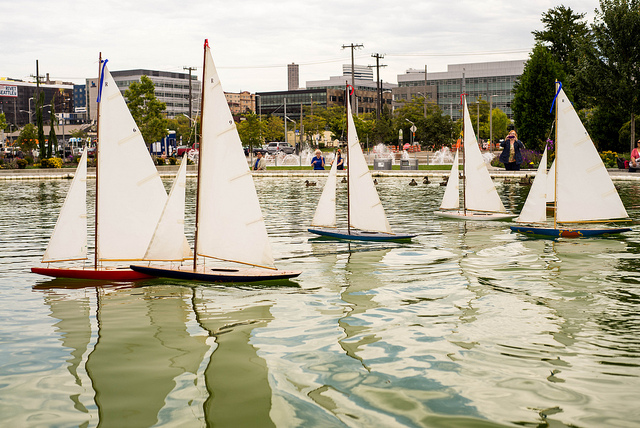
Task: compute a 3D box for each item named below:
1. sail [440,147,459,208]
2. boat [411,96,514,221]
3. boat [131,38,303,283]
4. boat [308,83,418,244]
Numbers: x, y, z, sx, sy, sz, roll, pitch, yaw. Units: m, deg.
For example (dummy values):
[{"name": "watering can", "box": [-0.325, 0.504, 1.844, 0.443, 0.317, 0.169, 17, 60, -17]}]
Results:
[{"name": "sail", "box": [5.176, -1.255, 28.609, 0.634, 2.431, 1.719, 2, 15, 9]}, {"name": "boat", "box": [6.152, -1.802, 28.175, 2.697, 4.349, 1.892, 7, 17, 26]}, {"name": "boat", "box": [-2.868, -1.286, 18.793, 2.731, 6.320, 2.334, -9, 17, -29]}, {"name": "boat", "box": [1.163, -1.331, 24.028, 4.360, 4.721, 1.126, 3, -7, -22]}]
